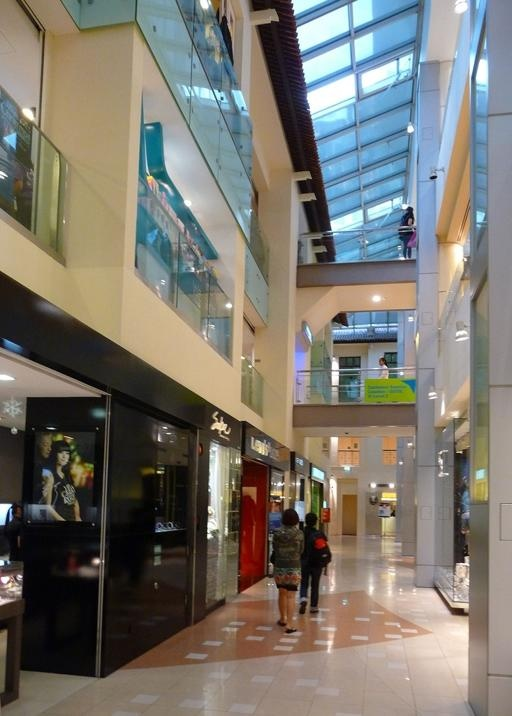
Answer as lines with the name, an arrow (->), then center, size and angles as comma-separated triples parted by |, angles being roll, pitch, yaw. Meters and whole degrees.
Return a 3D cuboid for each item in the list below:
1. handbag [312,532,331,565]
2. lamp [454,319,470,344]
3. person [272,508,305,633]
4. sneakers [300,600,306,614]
handbag -> 0.928, 2.606, 7.550 | 0.239, 0.467, 0.408 | -7, -14, 30
lamp -> 2.492, -0.329, 6.730 | 0.121, 0.292, 0.731 | -4, -14, 17
person -> 0.357, 2.374, 6.248 | 0.373, 1.300, 0.705 | -1, -12, 4
sneakers -> 0.625, 3.254, 7.227 | 0.046, 0.179, 0.107 | 2, -7, -8
